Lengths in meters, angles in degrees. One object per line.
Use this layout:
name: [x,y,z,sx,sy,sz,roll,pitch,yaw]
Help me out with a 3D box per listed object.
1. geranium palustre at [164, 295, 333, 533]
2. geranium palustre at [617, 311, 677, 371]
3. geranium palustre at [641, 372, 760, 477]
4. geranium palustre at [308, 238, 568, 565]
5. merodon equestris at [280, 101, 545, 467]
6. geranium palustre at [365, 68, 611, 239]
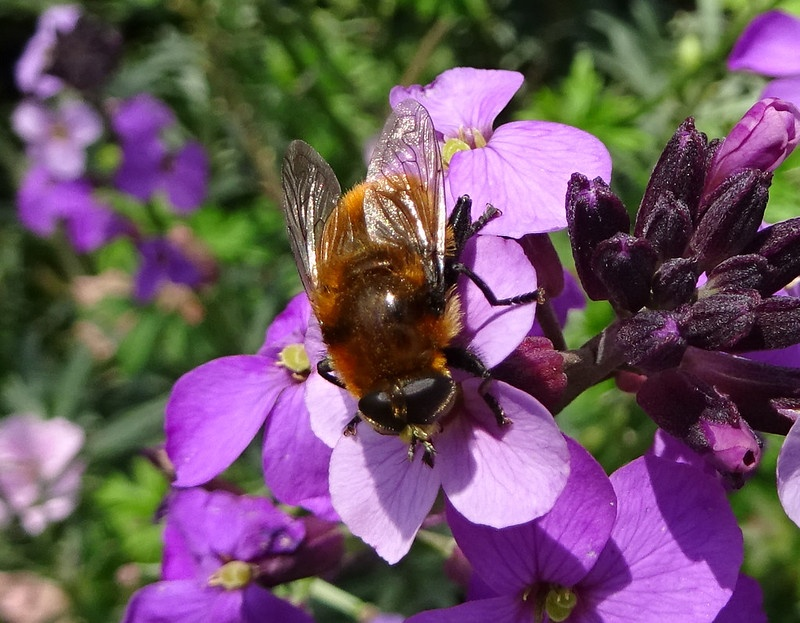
geranium palustre: [-0.312,0.214,2.121,0.417,0.156,0.410,34,95,12]
geranium palustre: [0.507,0.060,1.953,0.111,0.111,0.119,-25,40,-34]
geranium palustre: [0.590,0.214,1.937,0.142,0.110,0.247,-30,53,-20]
geranium palustre: [0.043,0.177,2.040,0.593,0.555,0.805,-5,46,-6]
merodon equestris: [0.038,-0.037,1.967,0.495,0.515,0.823,-2,41,-1]
geranium palustre: [0.207,-0.362,2.221,0.471,0.172,0.553,0,54,17]
